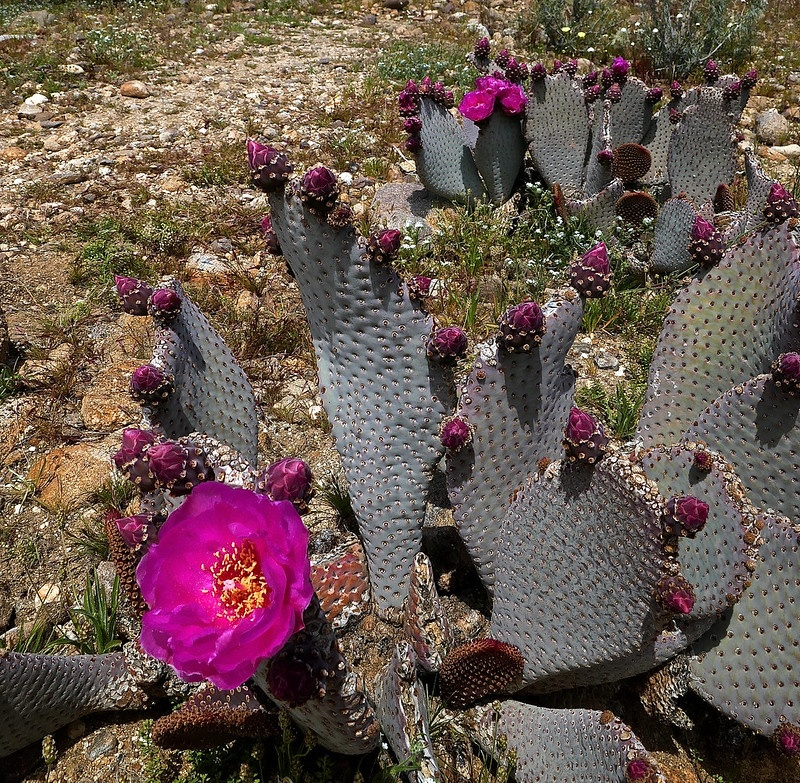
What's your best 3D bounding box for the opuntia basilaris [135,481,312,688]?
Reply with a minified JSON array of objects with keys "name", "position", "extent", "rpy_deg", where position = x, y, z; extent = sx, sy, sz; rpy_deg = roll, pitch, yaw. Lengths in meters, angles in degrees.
[{"name":"opuntia basilaris","position":[-0.470,0.557,2.918],"extent":[0.462,0.243,0.625],"rpy_deg":[-21,67,-1]}]
